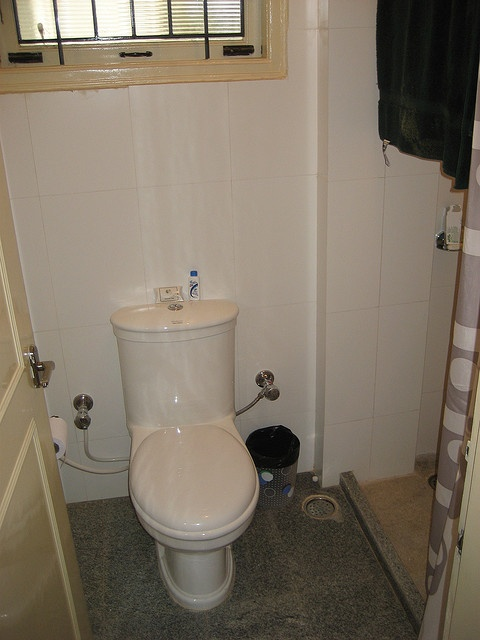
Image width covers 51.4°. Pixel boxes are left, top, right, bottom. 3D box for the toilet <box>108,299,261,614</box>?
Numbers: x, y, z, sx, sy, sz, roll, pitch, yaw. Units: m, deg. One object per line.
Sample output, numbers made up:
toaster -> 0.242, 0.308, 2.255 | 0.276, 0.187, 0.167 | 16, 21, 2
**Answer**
toilet -> -0.157, 0.439, 1.559 | 0.352, 0.813, 0.627 | -5, 26, -12
